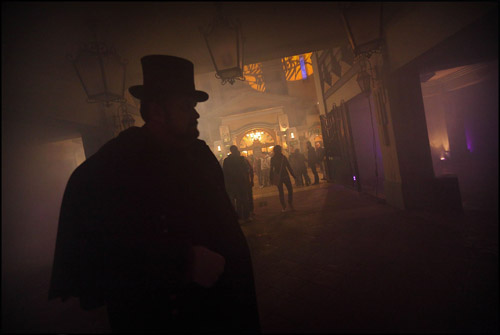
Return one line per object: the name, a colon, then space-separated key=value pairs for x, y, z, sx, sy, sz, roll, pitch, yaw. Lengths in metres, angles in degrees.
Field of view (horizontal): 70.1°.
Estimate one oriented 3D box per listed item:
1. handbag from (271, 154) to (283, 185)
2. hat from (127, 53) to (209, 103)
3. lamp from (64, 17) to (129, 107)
handbag: x=0.712 y=0.078 z=9.055 sx=0.361 sy=0.650 sz=0.154 roll=9 pitch=9 yaw=35
hat: x=-1.085 y=-1.177 z=4.682 sx=1.105 sy=0.494 sz=0.972 roll=-1 pitch=15 yaw=-13
lamp: x=-2.803 y=-1.812 z=6.247 sx=0.905 sy=1.438 sz=0.905 roll=-9 pitch=7 yaw=4
